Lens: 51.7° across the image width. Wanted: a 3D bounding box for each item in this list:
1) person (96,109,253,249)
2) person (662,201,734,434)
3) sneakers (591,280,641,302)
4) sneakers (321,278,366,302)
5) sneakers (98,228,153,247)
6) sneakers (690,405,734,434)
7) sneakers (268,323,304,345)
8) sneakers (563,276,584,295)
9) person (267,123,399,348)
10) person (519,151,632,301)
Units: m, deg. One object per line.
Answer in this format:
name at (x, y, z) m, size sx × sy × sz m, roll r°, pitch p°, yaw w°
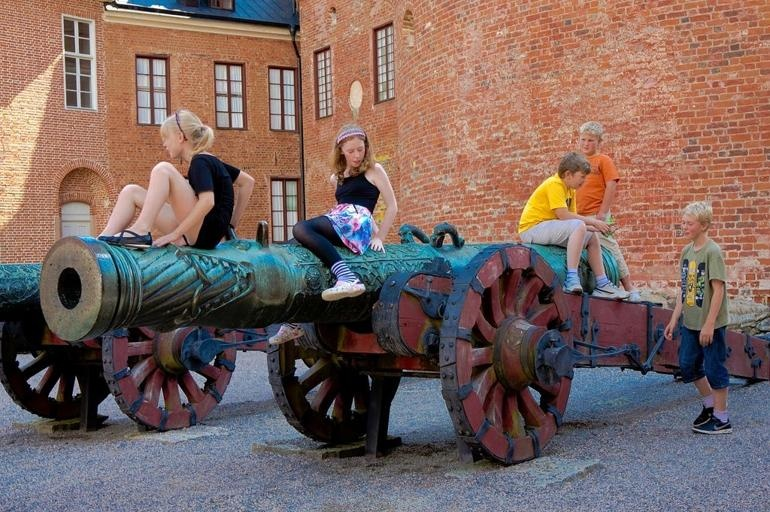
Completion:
person at (-1.655, -0.620, 6.282) m, size 0.766 × 1.169 × 1.308 m, roll -1°, pitch 3°, yaw 28°
person at (3.045, 0.590, 7.626) m, size 0.456 × 2.167 × 0.350 m, roll -1°, pitch 3°, yaw 36°
sneakers at (2.339, 0.374, 7.957) m, size 0.571 × 0.252 × 0.217 m, roll -5°, pitch 4°, yaw -13°
sneakers at (-0.336, 0.302, 6.384) m, size 0.330 × 0.139 × 0.158 m, roll -8°, pitch -14°, yaw -4°
sneakers at (-1.871, -0.108, 5.838) m, size 0.405 × 0.141 × 0.150 m, roll 5°, pitch -1°, yaw -3°
sneakers at (3.071, 1.571, 7.605) m, size 0.466 × 0.217 × 0.179 m, roll 1°, pitch -3°, yaw 17°
sneakers at (-0.882, 0.730, 7.101) m, size 0.325 × 0.143 × 0.163 m, roll -24°, pitch 34°, yaw 19°
sneakers at (1.785, 0.284, 7.562) m, size 0.175 × 0.152 × 0.204 m, roll -3°, pitch 2°, yaw 6°
person at (-0.335, -0.389, 6.771) m, size 0.595 × 1.511 × 1.056 m, roll -1°, pitch 3°, yaw 27°
person at (1.853, -0.278, 7.869) m, size 0.974 × 1.480 × 0.722 m, roll -3°, pitch 3°, yaw 3°
